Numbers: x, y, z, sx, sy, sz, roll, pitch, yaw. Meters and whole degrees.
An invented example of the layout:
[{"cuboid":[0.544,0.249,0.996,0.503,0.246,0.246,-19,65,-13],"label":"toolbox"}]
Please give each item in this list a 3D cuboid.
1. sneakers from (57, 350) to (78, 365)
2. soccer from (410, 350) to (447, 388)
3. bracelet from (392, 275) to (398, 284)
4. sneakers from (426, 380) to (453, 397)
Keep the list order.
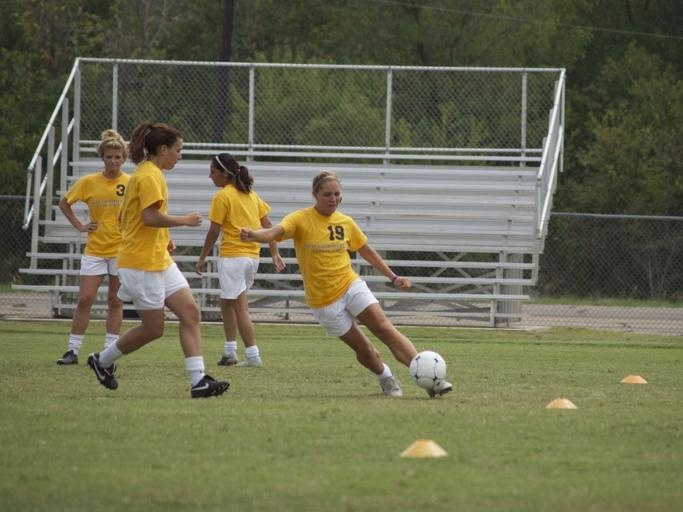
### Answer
[{"cuboid":[-4.391,1.678,22.539,0.417,0.208,0.148,2,-3,38],"label":"sneakers"},{"cuboid":[1.325,1.728,21.309,0.525,0.554,0.532,7,-4,7],"label":"soccer"},{"cuboid":[0.842,0.388,21.461,0.051,0.103,0.088,34,13,-20],"label":"bracelet"},{"cuboid":[1.508,2.040,21.247,0.316,0.157,0.238,-17,5,19],"label":"sneakers"}]
